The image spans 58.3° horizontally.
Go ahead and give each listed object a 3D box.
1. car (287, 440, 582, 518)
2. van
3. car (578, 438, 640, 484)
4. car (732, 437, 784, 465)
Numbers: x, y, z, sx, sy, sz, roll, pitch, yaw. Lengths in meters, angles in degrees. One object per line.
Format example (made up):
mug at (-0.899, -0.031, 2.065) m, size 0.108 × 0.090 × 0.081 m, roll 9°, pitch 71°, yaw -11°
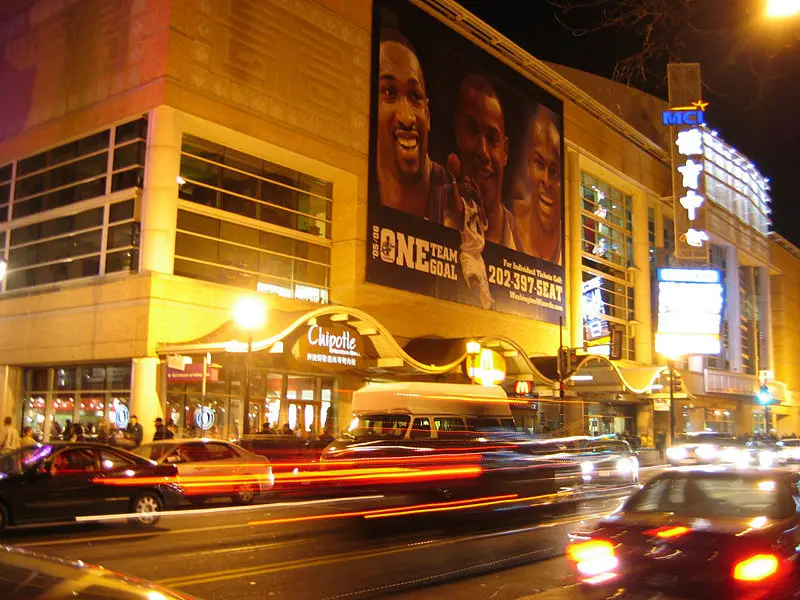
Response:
car at (1.340, 4.278, 17.473) m, size 5.150 × 1.436 × 2.760 m, roll 4°, pitch -14°, yaw -24°
van at (0.690, 3.388, 18.017) m, size 4.427 × 2.146 × 2.489 m, roll 11°, pitch -18°, yaw -40°
car at (6.707, 4.941, 23.348) m, size 1.517 × 0.901 × 2.689 m, roll -3°, pitch 13°, yaw 20°
car at (17.479, 7.303, 34.680) m, size 1.999 × 1.465 × 8.269 m, roll -8°, pitch -16°, yaw 26°
